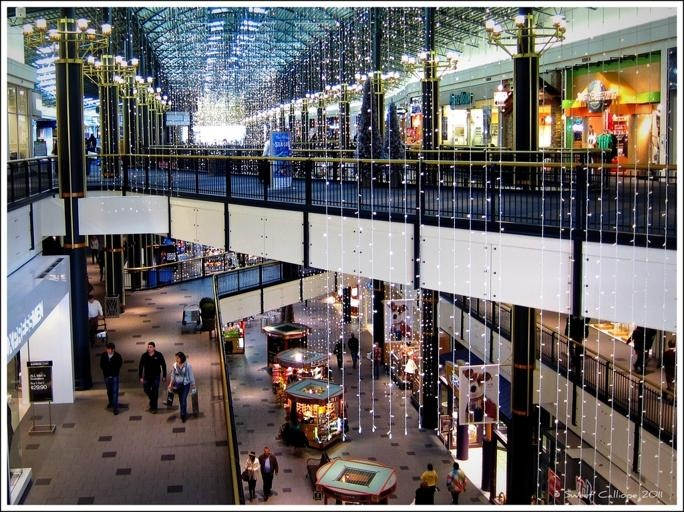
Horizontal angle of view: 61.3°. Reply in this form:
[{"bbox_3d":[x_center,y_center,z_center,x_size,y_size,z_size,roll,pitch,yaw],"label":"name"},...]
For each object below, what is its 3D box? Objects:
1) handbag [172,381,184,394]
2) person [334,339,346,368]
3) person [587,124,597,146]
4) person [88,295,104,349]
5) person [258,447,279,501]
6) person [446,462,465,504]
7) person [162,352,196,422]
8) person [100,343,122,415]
[{"bbox_3d":[-3.079,2.445,10.831,0.204,0.226,0.216,4,-6,2],"label":"handbag"},{"bbox_3d":[-0.088,3.828,22.628,0.237,1.032,0.529,-4,9,-8],"label":"person"},{"bbox_3d":[9.093,-4.388,20.943,0.315,0.816,1.612,1,11,23],"label":"person"},{"bbox_3d":[-6.551,1.678,15.338,0.362,1.253,1.488,-7,10,-23],"label":"person"},{"bbox_3d":[-1.716,4.958,13.513,0.375,1.426,0.816,-4,9,-6],"label":"person"},{"bbox_3d":[2.678,5.274,13.517,0.385,1.334,1.147,-1,10,10],"label":"person"},{"bbox_3d":[-3.111,2.412,11.104,0.466,1.333,0.948,-6,10,-19],"label":"person"},{"bbox_3d":[-4.549,2.276,11.434,0.358,1.315,1.151,-6,10,-22],"label":"person"}]
